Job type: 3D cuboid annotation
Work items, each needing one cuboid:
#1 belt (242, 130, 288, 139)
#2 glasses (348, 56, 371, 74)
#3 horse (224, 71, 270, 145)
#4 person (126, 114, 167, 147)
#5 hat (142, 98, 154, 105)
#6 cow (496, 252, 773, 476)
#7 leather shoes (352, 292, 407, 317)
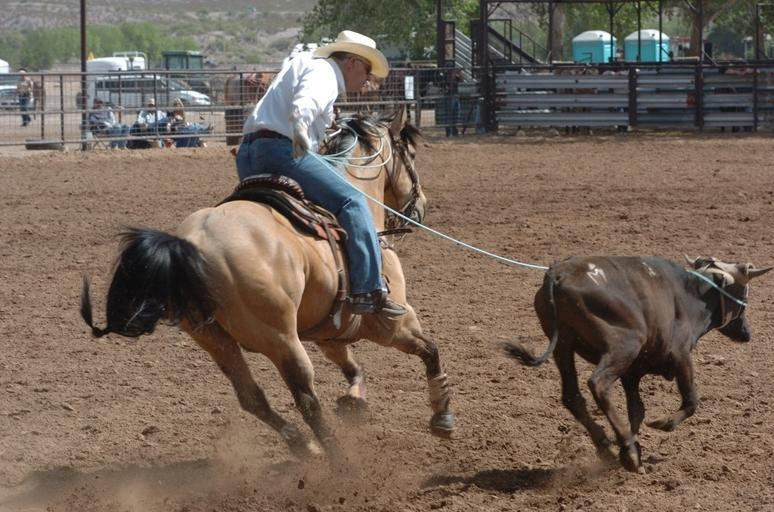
[{"bbox_3d":[-1.371,-1.346,13.191,0.203,0.047,0.195,7,-13,-32],"label":"belt"},{"bbox_3d":[-0.295,-2.180,13.460,0.063,0.183,0.187,-24,10,-39],"label":"glasses"},{"bbox_3d":[-3.188,-3.534,27.089,0.944,1.183,1.360,6,15,11],"label":"horse"},{"bbox_3d":[-5.123,-2.832,25.803,0.934,0.845,0.610,3,18,15],"label":"person"},{"bbox_3d":[-5.100,-3.351,25.703,0.159,0.201,0.105,5,50,-1],"label":"hat"},{"bbox_3d":[2.802,1.138,13.688,2.526,2.238,1.188,-6,14,-25],"label":"cow"},{"bbox_3d":[-0.058,0.539,13.163,0.619,0.241,0.221,-4,6,-21],"label":"leather shoes"}]
